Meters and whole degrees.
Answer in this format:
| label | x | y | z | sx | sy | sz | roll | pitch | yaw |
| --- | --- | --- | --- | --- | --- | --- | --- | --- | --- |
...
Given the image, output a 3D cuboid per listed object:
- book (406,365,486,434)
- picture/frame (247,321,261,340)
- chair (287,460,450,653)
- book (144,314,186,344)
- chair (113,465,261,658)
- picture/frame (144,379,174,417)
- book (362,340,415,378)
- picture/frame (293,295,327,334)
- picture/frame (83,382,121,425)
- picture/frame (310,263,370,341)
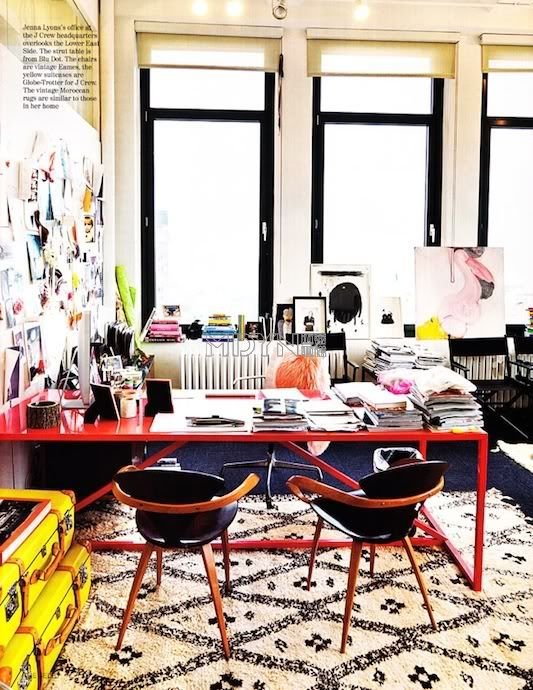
| label | x | y | z | sx | sy | sz | roll | pitch | yaw |
| --- | --- | --- | --- | --- | --- | --- | --- | --- | --- |
| book | 0.766 | 0.241 | 2.262 | 0.202 | 0.117 | 0.300 | 1 | 13 | -1 |
| picture/frame | -0.116 | -0.122 | 4.968 | 0.133 | 0.171 | 0.017 | 1 | -13 | -9 |
| chair | 0.395 | 0.701 | 2.073 | 0.537 | 0.774 | 0.568 | 11 | 15 | 37 |
| book | -0.905 | -0.124 | 4.723 | 0.224 | 0.166 | 0.245 | 0 | 7 | -2 |
| chair | -0.288 | 0.685 | 1.885 | 0.454 | 0.686 | 0.438 | 0 | 11 | 0 |
| picture/frame | -0.482 | 0.241 | 2.398 | 0.123 | 0.218 | 0.048 | 0 | 12 | 3 |
| book | 1.044 | 0.094 | 4.578 | 0.326 | 0.164 | 0.432 | 1 | 11 | -1 |
| picture/frame | 0.381 | -0.257 | 4.745 | 0.275 | 0.371 | 0.035 | 0 | 4 | -2 |
| picture/frame | -0.736 | 0.203 | 2.392 | 0.125 | 0.249 | 0.225 | -2 | 11 | -31 |
| picture/frame | 0.686 | -0.381 | 4.846 | 0.561 | 0.803 | 0.055 | 1 | -26 | 3 |
